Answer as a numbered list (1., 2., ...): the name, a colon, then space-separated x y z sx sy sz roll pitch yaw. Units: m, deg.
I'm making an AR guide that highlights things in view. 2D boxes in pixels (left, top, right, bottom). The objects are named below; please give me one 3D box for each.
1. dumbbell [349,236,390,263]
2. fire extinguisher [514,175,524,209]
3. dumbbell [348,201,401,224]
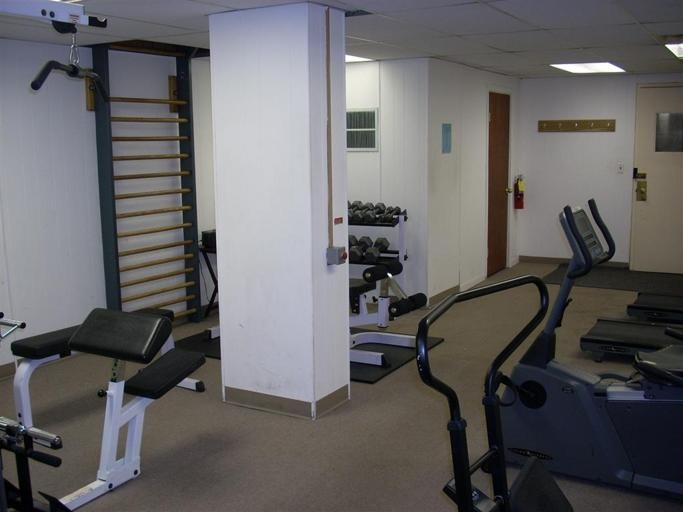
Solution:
1. dumbbell: 0.278 -0.081 6.175 0.343 0.115 0.357 1 16 20
2. fire extinguisher: 3.140 -1.117 9.287 0.131 0.605 0.329 7 14 32
3. dumbbell: 0.431 -0.531 6.554 0.794 0.251 0.407 6 14 29
